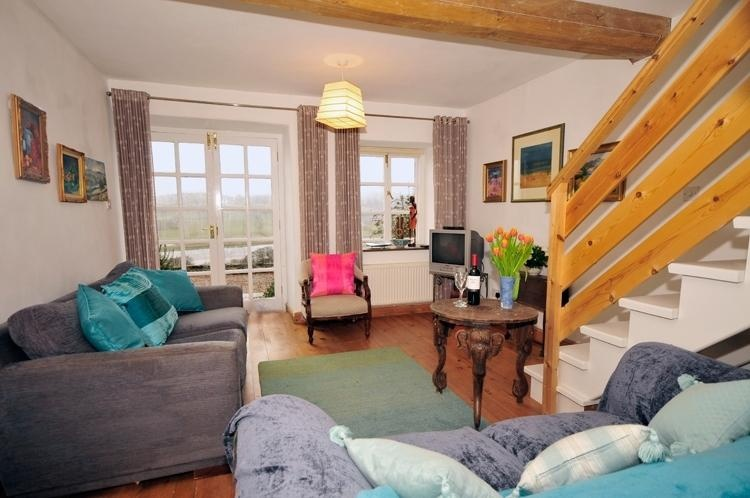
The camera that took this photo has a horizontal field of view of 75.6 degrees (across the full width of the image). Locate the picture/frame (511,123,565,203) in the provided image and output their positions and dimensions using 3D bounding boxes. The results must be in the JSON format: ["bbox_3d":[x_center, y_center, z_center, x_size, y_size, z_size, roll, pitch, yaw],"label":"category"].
[{"bbox_3d":[1.967,-1.033,5.920,0.198,0.960,0.849,-6,14,-19],"label":"picture/frame"}]

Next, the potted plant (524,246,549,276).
[{"bbox_3d":[1.869,0.118,5.644,0.341,0.335,0.333,-1,6,-9],"label":"potted plant"}]

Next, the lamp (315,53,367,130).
[{"bbox_3d":[-0.342,-1.614,4.940,0.447,0.635,0.444,7,7,21],"label":"lamp"}]

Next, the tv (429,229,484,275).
[{"bbox_3d":[1.180,0.062,6.663,0.799,0.679,0.619,5,4,45],"label":"tv"}]

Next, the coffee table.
[{"bbox_3d":[0.953,0.959,4.360,0.865,0.873,0.898,-3,11,-12],"label":"coffee table"}]

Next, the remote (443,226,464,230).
[{"bbox_3d":[1.093,-0.296,6.702,0.157,0.036,0.142,-2,-2,41],"label":"remote"}]

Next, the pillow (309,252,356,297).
[{"bbox_3d":[-0.553,0.334,6.266,0.614,0.568,0.206,-1,0,-18],"label":"pillow"}]

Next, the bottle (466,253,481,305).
[{"bbox_3d":[0.901,0.248,4.403,0.122,0.484,0.395,2,13,11],"label":"bottle"}]

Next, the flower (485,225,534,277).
[{"bbox_3d":[1.190,0.011,4.260,0.272,0.307,0.284,-2,-16,-30],"label":"flower"}]

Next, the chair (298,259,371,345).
[{"bbox_3d":[-0.498,0.635,6.144,0.876,0.932,0.890,-3,13,-10],"label":"chair"}]

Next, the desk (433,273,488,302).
[{"bbox_3d":[1.173,0.366,6.849,0.407,0.683,0.739,-2,3,-32],"label":"desk"}]
